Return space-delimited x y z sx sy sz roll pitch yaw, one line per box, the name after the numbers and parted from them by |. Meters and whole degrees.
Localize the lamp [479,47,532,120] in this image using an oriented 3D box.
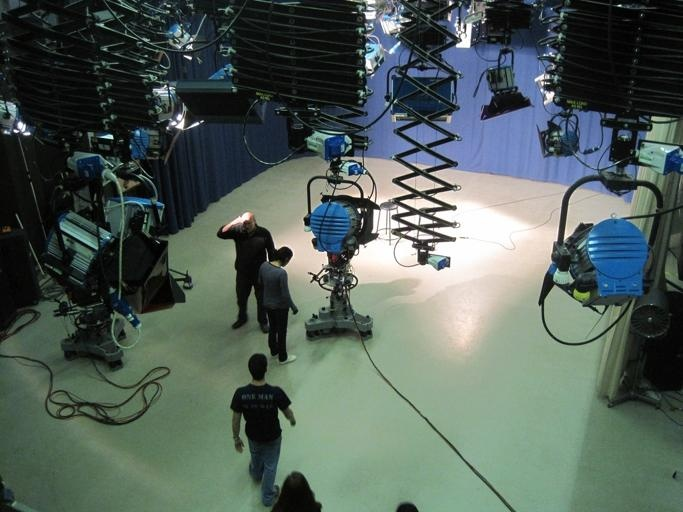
2.654 -2.935 9.101 0.885 1.112 0.886 -12 14 -4 | lamp

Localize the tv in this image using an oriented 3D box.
-1.171 -1.450 5.297 0.536 0.135 0.551 3 -5 8 | tv

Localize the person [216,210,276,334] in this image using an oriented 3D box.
-1.240 0.224 7.270 0.717 1.643 0.446 -2 24 -13 | person

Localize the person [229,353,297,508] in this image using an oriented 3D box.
-0.702 1.576 5.062 0.502 1.542 0.331 4 18 13 | person

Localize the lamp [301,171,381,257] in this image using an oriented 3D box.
-0.072 -0.519 6.532 0.918 0.992 0.545 6 -4 6 | lamp

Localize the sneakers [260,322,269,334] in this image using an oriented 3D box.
-1.037 0.949 7.421 0.070 0.095 0.211 -13 35 -23 | sneakers

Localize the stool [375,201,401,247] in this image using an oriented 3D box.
0.791 -0.533 9.940 0.402 0.653 0.436 15 6 26 | stool

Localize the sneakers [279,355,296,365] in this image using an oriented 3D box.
-0.662 1.263 6.830 0.178 0.069 0.088 -18 41 -30 | sneakers

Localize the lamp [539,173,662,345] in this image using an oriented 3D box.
2.156 0.023 4.557 0.796 1.466 0.732 6 -2 14 | lamp

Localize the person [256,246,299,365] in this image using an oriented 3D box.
-0.740 0.614 6.603 0.363 1.483 0.559 -11 20 -32 | person
